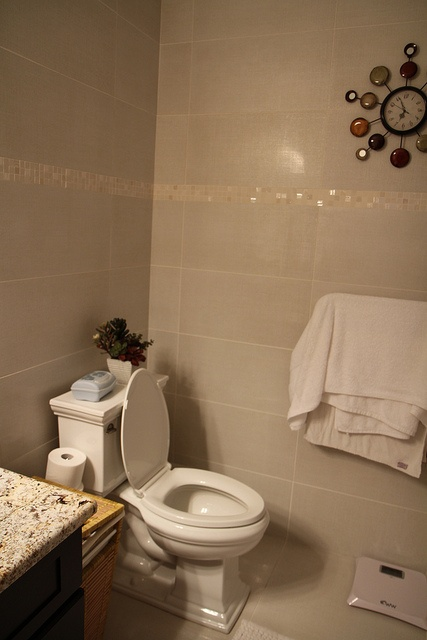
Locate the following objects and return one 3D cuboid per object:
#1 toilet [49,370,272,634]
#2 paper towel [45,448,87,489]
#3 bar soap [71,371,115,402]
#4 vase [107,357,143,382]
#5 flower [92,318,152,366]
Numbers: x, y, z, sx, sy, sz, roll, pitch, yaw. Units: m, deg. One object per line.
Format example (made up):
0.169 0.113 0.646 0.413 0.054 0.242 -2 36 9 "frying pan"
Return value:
-0.111 0.670 1.570 0.644 0.882 0.540 8 10 27 "toilet"
-0.443 0.465 1.407 0.120 0.138 0.138 -4 11 -18 "paper towel"
-0.401 0.221 1.548 0.118 0.072 0.157 0 11 6 "bar soap"
-0.335 0.171 1.685 0.090 0.090 0.079 1 0 18 "vase"
-0.334 0.086 1.718 0.183 0.117 0.227 14 23 -3 "flower"
